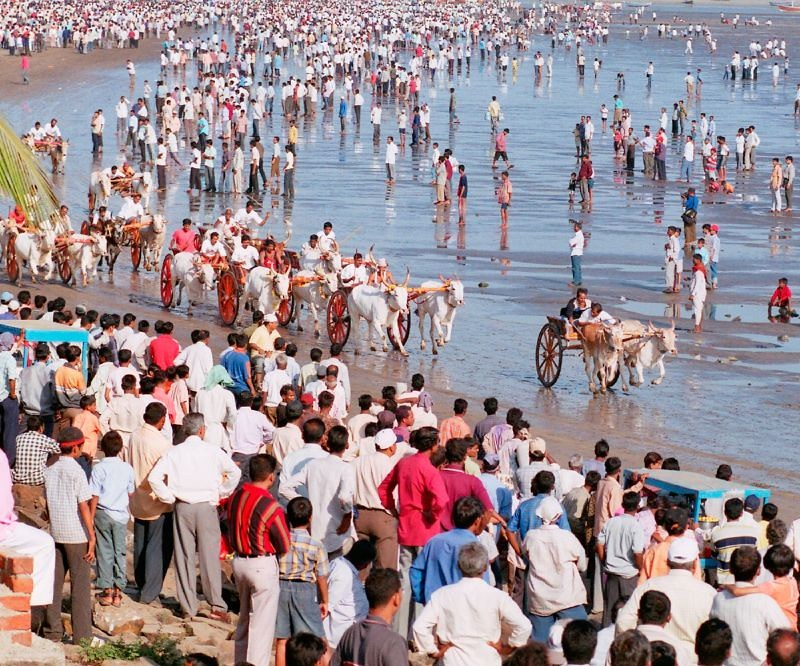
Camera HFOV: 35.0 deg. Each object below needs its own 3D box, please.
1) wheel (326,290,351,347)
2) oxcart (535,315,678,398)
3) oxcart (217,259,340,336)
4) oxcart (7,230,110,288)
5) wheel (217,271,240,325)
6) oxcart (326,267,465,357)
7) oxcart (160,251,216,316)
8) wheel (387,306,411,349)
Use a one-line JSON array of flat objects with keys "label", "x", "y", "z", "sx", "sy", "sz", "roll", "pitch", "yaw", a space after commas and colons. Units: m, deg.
[{"label": "wheel", "x": -1.182, "y": -0.250, "z": 24.260, "sx": 0.261, "sy": 1.003, "sz": 0.912, "roll": -2, "pitch": 8, "yaw": -33}, {"label": "oxcart", "x": 3.410, "y": 0.311, "z": 21.902, "sx": 1.323, "sy": 0.999, "sz": 1.916, "roll": 0, "pitch": 2, "yaw": -17}, {"label": "oxcart", "x": -2.556, "y": -0.680, "z": 24.838, "sx": 1.235, "sy": 1.067, "sz": 1.814, "roll": -1, "pitch": 4, "yaw": -32}, {"label": "oxcart", "x": -7.575, "y": -1.684, "z": 27.802, "sx": 1.874, "sy": 1.403, "sz": 2.604, "roll": -4, "pitch": 14, "yaw": -30}, {"label": "wheel", "x": -3.409, "y": -0.660, "z": 25.305, "sx": 0.164, "sy": 1.072, "sz": 0.991, "roll": -2, "pitch": -9, "yaw": -32}, {"label": "oxcart", "x": -0.168, "y": -0.345, "z": 23.810, "sx": 1.343, "sy": 1.046, "sz": 2.259, "roll": 3, "pitch": -3, "yaw": -29}, {"label": "oxcart", "x": -4.309, "y": -1.054, "z": 25.886, "sx": 0.508, "sy": 1.188, "sz": 1.948, "roll": -1, "pitch": 13, "yaw": -35}, {"label": "wheel", "x": 0.007, "y": -0.075, "z": 24.314, "sx": 0.228, "sy": 0.629, "sz": 0.609, "roll": 17, "pitch": 21, "yaw": 11}]
